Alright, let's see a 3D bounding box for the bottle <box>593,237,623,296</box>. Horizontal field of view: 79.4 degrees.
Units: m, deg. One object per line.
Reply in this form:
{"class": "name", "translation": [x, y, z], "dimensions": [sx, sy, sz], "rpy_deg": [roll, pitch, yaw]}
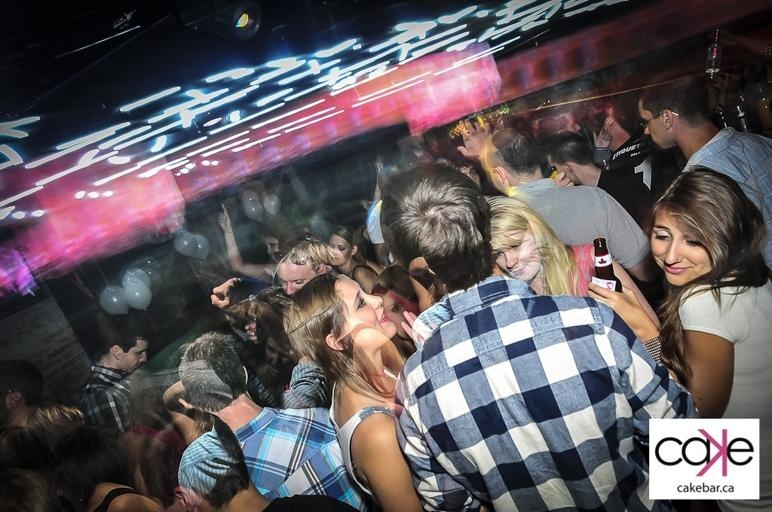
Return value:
{"class": "bottle", "translation": [1.290, 0.068, 2.760], "dimensions": [0.150, 0.352, 0.246], "rpy_deg": [-17, -3, 24]}
